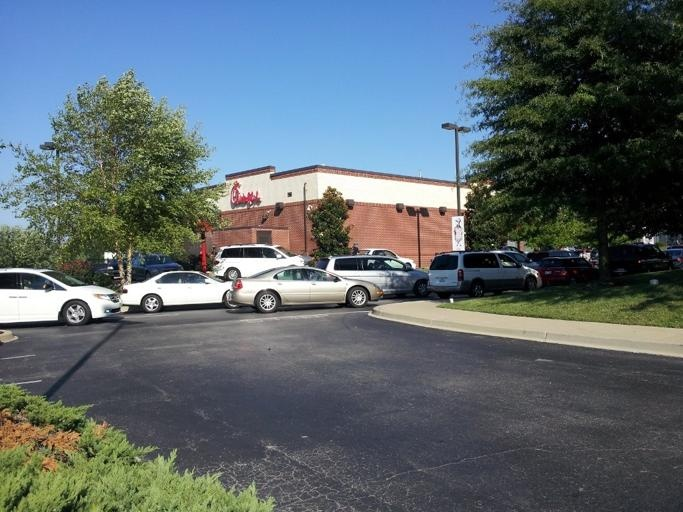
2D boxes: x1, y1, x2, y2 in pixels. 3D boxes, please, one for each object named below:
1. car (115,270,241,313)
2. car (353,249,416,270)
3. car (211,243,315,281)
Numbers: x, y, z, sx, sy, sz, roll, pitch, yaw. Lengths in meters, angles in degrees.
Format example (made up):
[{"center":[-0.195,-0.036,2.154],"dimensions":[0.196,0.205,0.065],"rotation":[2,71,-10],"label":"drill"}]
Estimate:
[{"center":[-6.746,1.430,22.760],"dimensions":[4.244,1.573,1.895],"rotation":[-4,2,-18],"label":"car"},{"center":[3.191,0.521,37.883],"dimensions":[3.721,1.448,1.904],"rotation":[-2,6,-11],"label":"car"},{"center":[-4.486,0.581,30.465],"dimensions":[4.599,1.890,2.228],"rotation":[-3,3,-10],"label":"car"}]
